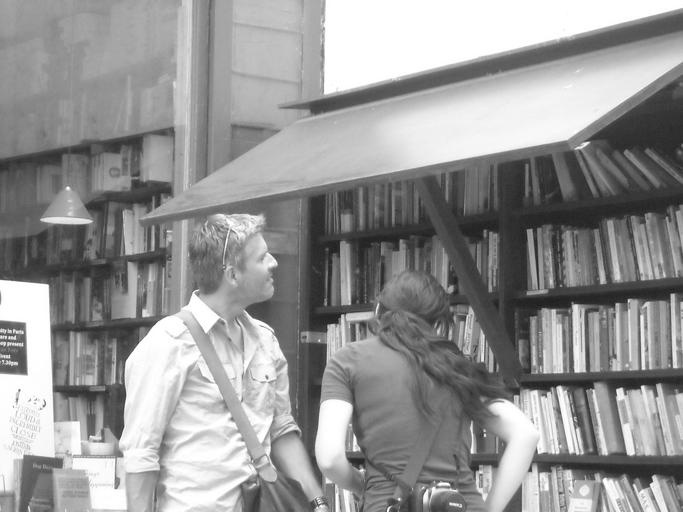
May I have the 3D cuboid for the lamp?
[{"bbox_3d":[-1.550,-0.814,5.426,0.296,1.304,0.152,4,-13,-25],"label":"lamp"}]
